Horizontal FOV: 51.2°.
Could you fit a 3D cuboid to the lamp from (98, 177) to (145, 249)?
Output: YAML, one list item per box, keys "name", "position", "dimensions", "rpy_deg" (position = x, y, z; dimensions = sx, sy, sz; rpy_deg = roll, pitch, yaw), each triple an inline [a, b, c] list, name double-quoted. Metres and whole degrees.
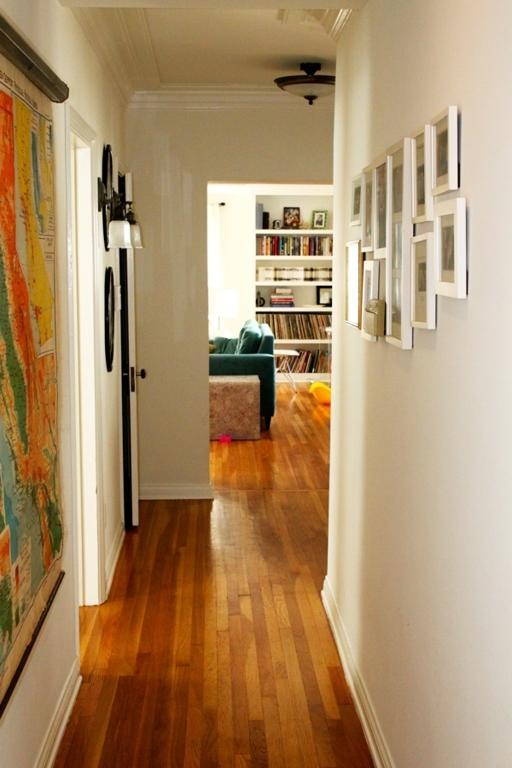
- name: "lamp"
  position: [-0.796, -1.010, 3.204]
  dimensions: [0.098, 0.489, 0.388]
  rpy_deg: [-5, 2, 8]

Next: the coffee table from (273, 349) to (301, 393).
- name: "coffee table"
  position: [0.498, -0.217, 8.818]
  dimensions: [0.360, 0.713, 1.418]
  rpy_deg: [0, 5, 3]

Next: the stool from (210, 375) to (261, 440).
- name: "stool"
  position: [-0.257, 0.174, 6.442]
  dimensions: [0.465, 0.829, 0.598]
  rpy_deg: [0, 6, -1]

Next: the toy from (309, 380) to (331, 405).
- name: "toy"
  position: [1.061, 0.191, 8.299]
  dimensions: [0.227, 0.194, 0.341]
  rpy_deg: [11, -18, 40]

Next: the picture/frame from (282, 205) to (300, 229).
- name: "picture/frame"
  position: [0.613, -2.867, 9.156]
  dimensions: [0.234, 0.588, 0.044]
  rpy_deg: [1, -5, 0]

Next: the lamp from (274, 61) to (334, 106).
- name: "lamp"
  position: [0.325, -2.050, 3.605]
  dimensions: [0.392, 0.147, 0.394]
  rpy_deg: [1, 6, 3]

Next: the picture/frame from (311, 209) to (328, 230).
- name: "picture/frame"
  position: [1.075, -2.826, 9.149]
  dimensions: [0.208, 0.483, 0.038]
  rpy_deg: [1, 0, -4]
